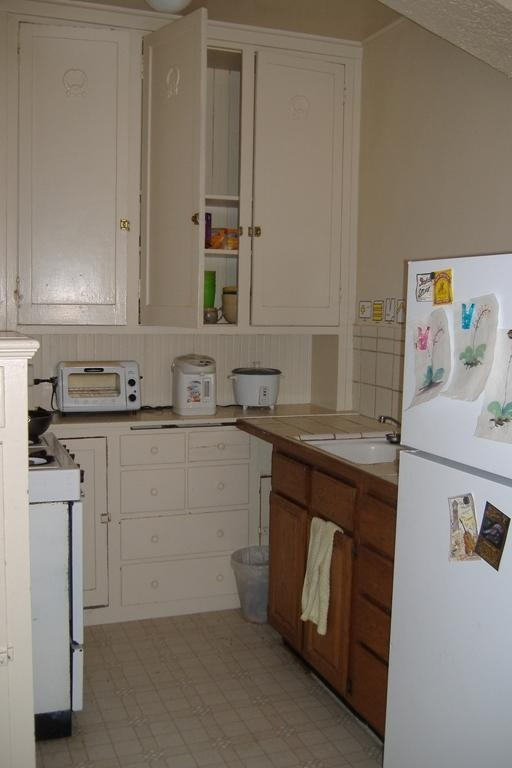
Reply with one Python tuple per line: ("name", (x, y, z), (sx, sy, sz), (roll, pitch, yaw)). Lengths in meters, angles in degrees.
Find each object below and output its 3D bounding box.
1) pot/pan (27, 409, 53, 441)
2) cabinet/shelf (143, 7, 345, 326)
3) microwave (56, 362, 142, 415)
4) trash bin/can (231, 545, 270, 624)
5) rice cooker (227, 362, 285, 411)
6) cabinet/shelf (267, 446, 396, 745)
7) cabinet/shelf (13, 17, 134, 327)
("pot/pan", (-0.760, 0.141, 2.121), (0.095, 0.075, 0.103), (2, -1, -1))
("cabinet/shelf", (-0.046, -0.879, 2.781), (0.868, 1.294, 0.617), (-1, 8, -16))
("microwave", (-0.721, -0.011, 2.769), (0.332, 0.284, 0.254), (-1, 16, -20))
("trash bin/can", (-0.001, 0.891, 2.702), (0.227, 0.286, 0.231), (-2, 1, 13))
("rice cooker", (0.006, -0.001, 2.945), (0.200, 0.220, 0.170), (-2, 10, -20))
("cabinet/shelf", (0.057, 0.626, 1.854), (0.455, 0.689, 0.586), (-1, 5, -21))
("cabinet/shelf", (-0.739, -0.859, 2.558), (0.489, 1.228, 0.152), (0, 1, -19))
